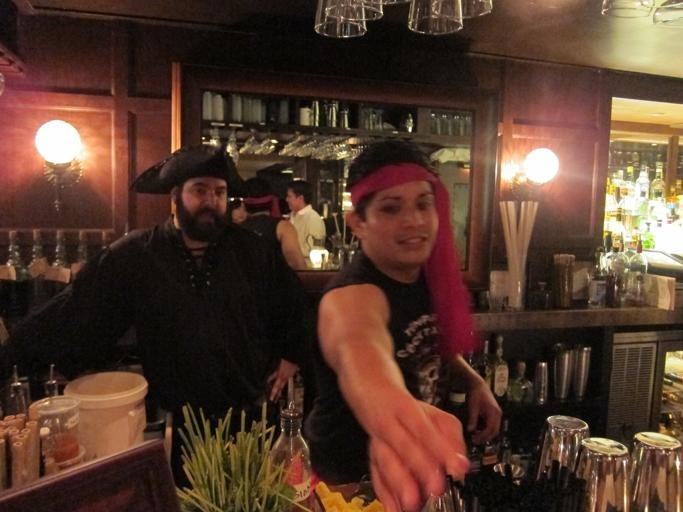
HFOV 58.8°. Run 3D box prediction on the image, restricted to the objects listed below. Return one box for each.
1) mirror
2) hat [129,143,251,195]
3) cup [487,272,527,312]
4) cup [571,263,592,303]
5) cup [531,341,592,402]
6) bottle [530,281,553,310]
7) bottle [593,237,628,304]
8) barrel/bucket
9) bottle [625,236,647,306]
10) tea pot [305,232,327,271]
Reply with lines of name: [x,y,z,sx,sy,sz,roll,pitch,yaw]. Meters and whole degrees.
mirror: [0.010,-0.388,3.410,1.745,1.308,0.143,1,22,-7]
hat: [-0.738,-0.423,3.032,0.465,0.136,0.273,-19,-21,28]
cup: [0.982,0.210,3.629,0.259,0.262,0.174,1,-2,-3]
cup: [1.557,0.165,3.937,0.138,0.239,0.101,1,5,7]
cup: [1.362,0.710,3.864,0.412,0.413,0.269,-2,5,-16]
bottle: [1.224,0.243,3.775,0.160,0.190,0.165,2,3,41]
bottle: [1.735,0.102,3.930,0.170,0.404,0.332,2,6,23]
barrel/bucket: [-0.886,0.595,2.459,0.362,0.330,0.359,3,13,-1]
bottle: [1.904,0.102,3.926,0.114,0.400,0.186,3,6,26]
tea pot: [-0.129,-0.013,3.223,0.155,0.194,0.119,2,6,5]
